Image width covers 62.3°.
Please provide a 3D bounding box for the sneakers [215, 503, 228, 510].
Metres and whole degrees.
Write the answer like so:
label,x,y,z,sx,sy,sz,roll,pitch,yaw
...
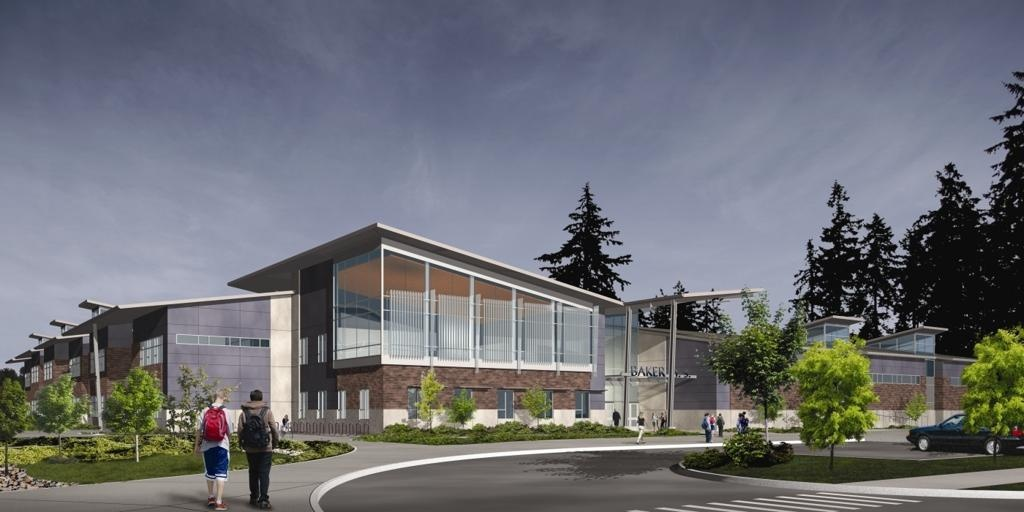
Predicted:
label,x,y,z,sx,sy,sz,roll,pitch,yaw
sneakers,-13.537,11.707,39.639,0.582,0.219,0.245,-5,-7,18
